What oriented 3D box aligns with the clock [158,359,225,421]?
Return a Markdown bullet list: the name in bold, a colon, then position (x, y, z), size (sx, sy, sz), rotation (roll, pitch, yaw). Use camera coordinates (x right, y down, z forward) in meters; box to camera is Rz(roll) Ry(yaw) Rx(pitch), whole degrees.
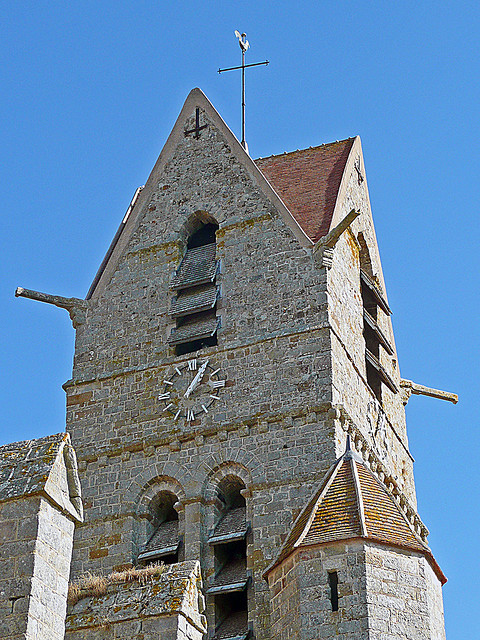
- **clock**: position (-0.782, 1.210, 32.583), size (1.170, 1.351, 0.114), rotation (-20, -42, 24)
